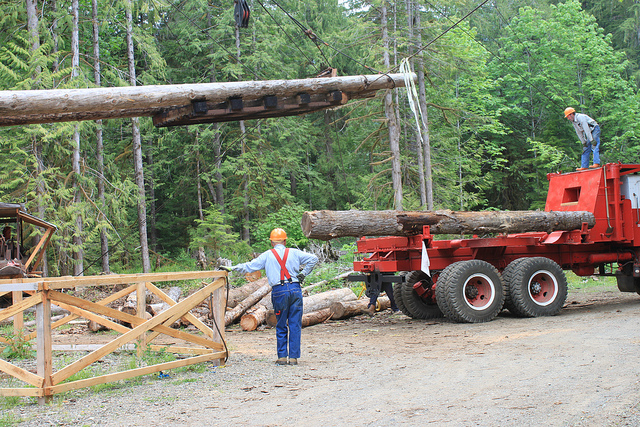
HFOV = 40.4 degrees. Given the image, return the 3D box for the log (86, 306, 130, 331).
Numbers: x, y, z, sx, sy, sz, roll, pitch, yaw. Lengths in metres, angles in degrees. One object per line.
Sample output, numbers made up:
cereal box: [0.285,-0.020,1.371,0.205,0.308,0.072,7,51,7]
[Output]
log: [-7.327,3.694,29.538,1.034,1.034,0.298,6,-49,-10]

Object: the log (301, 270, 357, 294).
log: [0.299,2.593,32.727,2.835,0.304,0.327,-21,-24,-23]

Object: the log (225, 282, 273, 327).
log: [-2.498,3.152,29.780,2.728,0.535,0.472,-38,12,-38]

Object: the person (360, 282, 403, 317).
person: [2.008,2.920,29.630,1.463,0.877,2.333,-4,-2,4]

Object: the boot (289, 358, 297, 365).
boot: [-0.832,4.321,25.476,0.177,0.131,0.177,0,-3,-9]

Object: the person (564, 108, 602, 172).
person: [9.375,-2.751,30.796,0.963,1.979,1.503,-4,-2,-2]
